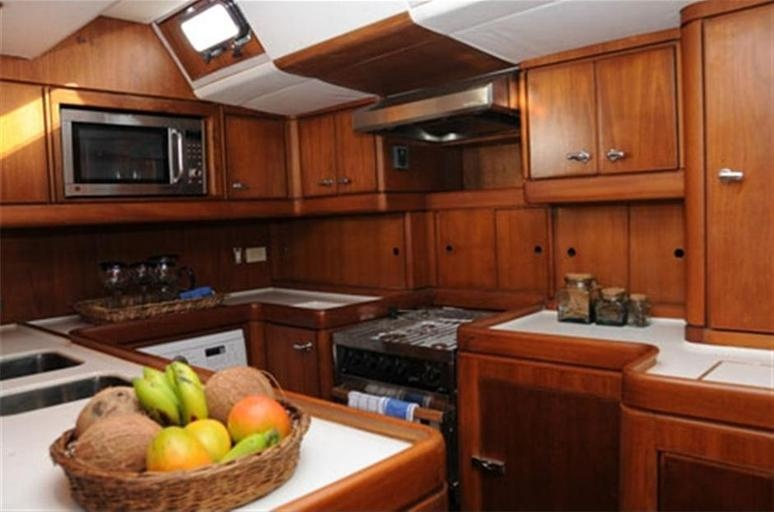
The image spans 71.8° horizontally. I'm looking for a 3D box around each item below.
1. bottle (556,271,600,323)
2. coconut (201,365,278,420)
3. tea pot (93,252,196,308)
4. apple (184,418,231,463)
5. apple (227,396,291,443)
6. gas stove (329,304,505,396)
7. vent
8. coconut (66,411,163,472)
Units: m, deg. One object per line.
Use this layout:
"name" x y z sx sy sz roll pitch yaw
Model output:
"bottle" 0.935 0.202 2.652 0.241 0.300 0.237 0 3 0
"coconut" -0.413 0.349 1.480 0.218 0.120 0.179 -2 4 -37
"tea pot" -1.457 0.124 3.311 0.499 0.315 0.388 4 4 28
"apple" -0.435 0.466 1.368 0.103 0.093 0.097 -22 -30 7
"apple" -0.344 0.446 1.418 0.153 0.129 0.147 3 9 23
"gas stove" 0.208 0.451 2.973 0.494 0.215 0.672 3 6 37
"vent" 0.339 -0.823 3.041 0.894 0.292 0.547 1 5 39
"coconut" -0.670 0.460 1.312 0.148 0.096 0.171 9 -3 -22
